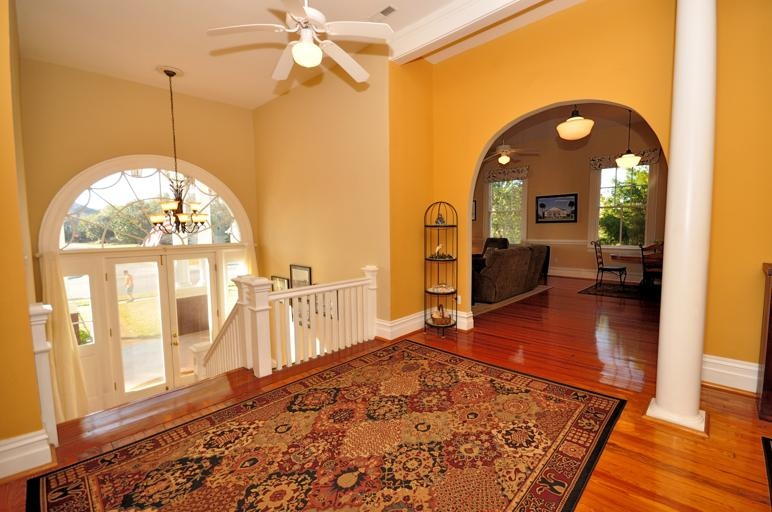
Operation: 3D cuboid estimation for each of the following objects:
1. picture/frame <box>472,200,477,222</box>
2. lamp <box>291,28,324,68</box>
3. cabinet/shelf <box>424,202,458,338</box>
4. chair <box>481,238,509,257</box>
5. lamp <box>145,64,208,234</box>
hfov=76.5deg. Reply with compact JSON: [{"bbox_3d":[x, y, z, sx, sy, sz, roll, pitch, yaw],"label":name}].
[{"bbox_3d":[2.298,-1.162,12.861,0.069,0.547,0.125,4,12,38],"label":"picture/frame"},{"bbox_3d":[-0.833,-2.113,5.048,0.279,0.341,0.286,-5,9,-9],"label":"lamp"},{"bbox_3d":[0.778,0.147,7.102,0.542,1.826,0.744,-2,9,8],"label":"cabinet/shelf"},{"bbox_3d":[2.311,-0.192,10.411,0.374,0.475,0.475,3,-3,-35],"label":"chair"},{"bbox_3d":[-3.219,-1.531,7.460,0.943,2.419,0.885,2,22,-7],"label":"lamp"}]
